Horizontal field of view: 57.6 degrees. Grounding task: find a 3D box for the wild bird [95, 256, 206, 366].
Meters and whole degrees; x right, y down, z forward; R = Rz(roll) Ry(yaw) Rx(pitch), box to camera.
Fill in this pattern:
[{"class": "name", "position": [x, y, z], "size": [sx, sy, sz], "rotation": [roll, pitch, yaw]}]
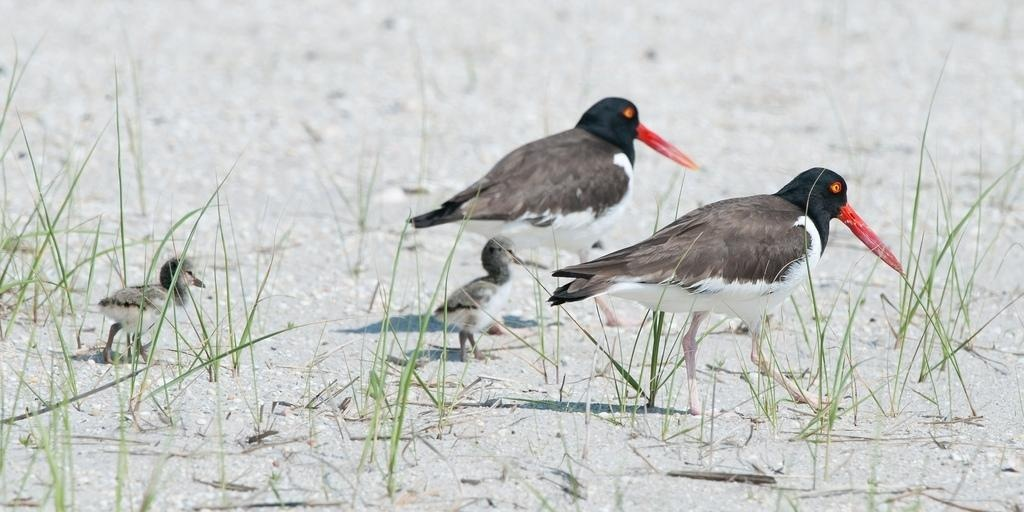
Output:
[{"class": "wild bird", "position": [-3.901, 0.593, 10.295], "size": [1.112, 1.026, 1.186], "rotation": [21, 24, 35]}]
